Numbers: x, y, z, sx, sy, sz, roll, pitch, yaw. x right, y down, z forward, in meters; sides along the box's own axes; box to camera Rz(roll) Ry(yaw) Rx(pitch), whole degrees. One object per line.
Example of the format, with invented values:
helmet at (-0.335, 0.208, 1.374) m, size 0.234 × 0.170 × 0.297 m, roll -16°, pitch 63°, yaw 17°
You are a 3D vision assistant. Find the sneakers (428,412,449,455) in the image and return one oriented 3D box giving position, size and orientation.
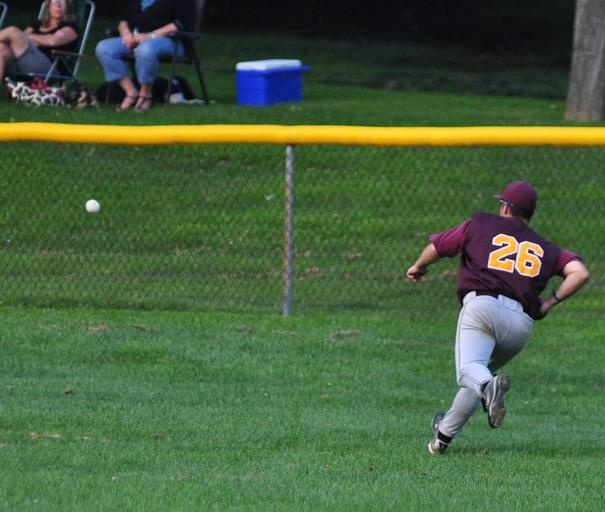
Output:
sneakers at (1.001, 1.390, 12.703) m, size 0.120 × 0.335 × 0.149 m, roll 26°, pitch -23°, yaw -26°

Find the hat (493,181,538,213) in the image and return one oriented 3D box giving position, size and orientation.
hat at (1.624, -0.451, 12.721) m, size 0.276 × 0.153 × 0.197 m, roll 26°, pitch 19°, yaw 31°

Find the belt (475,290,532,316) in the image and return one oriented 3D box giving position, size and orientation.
belt at (1.512, 0.336, 12.555) m, size 0.242 × 0.062 × 0.238 m, roll 18°, pitch 7°, yaw -33°

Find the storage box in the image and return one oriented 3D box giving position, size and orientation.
storage box at (-0.404, -2.008, 19.228) m, size 0.608 × 0.405 × 0.872 m, roll 5°, pitch 13°, yaw 28°

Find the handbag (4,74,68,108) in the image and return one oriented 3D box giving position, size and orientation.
handbag at (-2.839, -1.766, 17.914) m, size 0.648 × 0.271 × 0.459 m, roll 2°, pitch 10°, yaw -14°

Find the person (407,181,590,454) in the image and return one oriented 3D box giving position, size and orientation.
person at (1.476, 0.224, 12.558) m, size 1.277 × 1.519 × 0.658 m, roll 5°, pitch 10°, yaw 5°

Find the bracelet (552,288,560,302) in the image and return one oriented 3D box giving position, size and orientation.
bracelet at (1.914, 0.308, 12.672) m, size 0.079 × 0.029 × 0.071 m, roll 47°, pitch 8°, yaw -13°

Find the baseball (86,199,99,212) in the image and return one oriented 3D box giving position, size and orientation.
baseball at (-1.881, -0.458, 14.962) m, size 0.112 × 0.081 × 0.105 m, roll -17°, pitch 50°, yaw -22°

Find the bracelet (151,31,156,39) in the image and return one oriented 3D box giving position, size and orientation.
bracelet at (-1.609, -2.388, 17.958) m, size 0.059 × 0.061 × 0.056 m, roll 1°, pitch 0°, yaw -18°
